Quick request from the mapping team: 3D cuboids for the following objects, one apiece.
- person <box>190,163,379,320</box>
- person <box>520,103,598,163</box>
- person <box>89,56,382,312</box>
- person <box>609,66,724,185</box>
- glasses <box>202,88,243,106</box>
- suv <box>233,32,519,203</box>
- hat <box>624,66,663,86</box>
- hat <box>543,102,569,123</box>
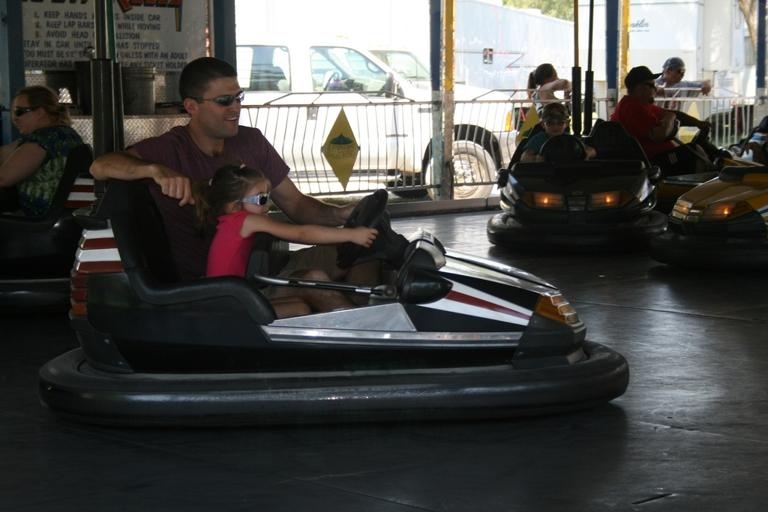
[{"bbox_3d":[-0.219,-0.126,2.561,0.810,0.669,0.387,-7,26,-5],"label":"person"},{"bbox_3d":[1.434,-1.048,5.921,0.481,0.350,0.702,-3,18,6],"label":"person"},{"bbox_3d":[-0.507,-0.215,2.638,1.123,0.896,0.634,3,24,-6],"label":"person"},{"bbox_3d":[2.699,-1.090,6.724,0.984,1.372,0.677,-10,26,1],"label":"person"},{"bbox_3d":[-0.588,-0.573,2.567,0.095,0.023,0.086,-4,14,13],"label":"glasses"},{"bbox_3d":[0.030,-1.725,8.414,3.470,1.345,2.002,-2,10,-12],"label":"suv"},{"bbox_3d":[2.443,-1.674,6.479,0.330,0.140,0.195,-6,17,7],"label":"hat"},{"bbox_3d":[1.468,-1.218,5.947,0.173,0.091,0.213,0,-2,9],"label":"hat"}]
